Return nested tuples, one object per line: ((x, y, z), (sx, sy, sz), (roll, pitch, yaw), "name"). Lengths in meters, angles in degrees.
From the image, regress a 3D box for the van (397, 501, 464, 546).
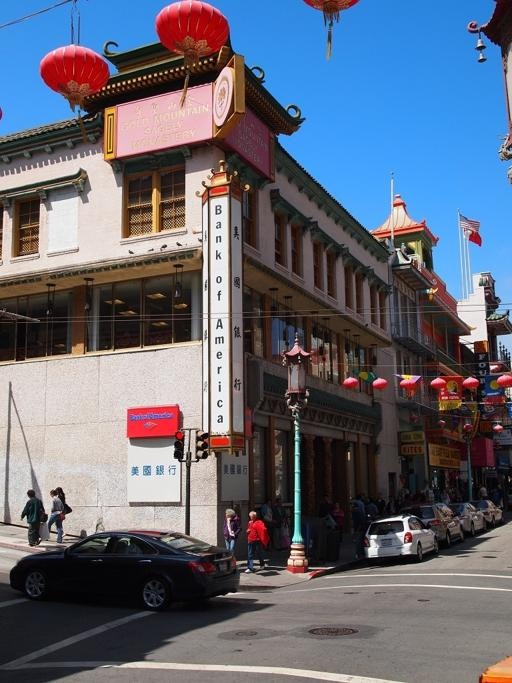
((6.195, 6.439, 27.595), (1.604, 1.431, 3.972), (-8, -14, 26), "van")

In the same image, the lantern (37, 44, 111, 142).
((-3.587, -5.091, 15.678), (1.015, 1.401, 1.115), (-7, -12, 25), "lantern")

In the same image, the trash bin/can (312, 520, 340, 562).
((2.052, 5.774, 22.698), (0.753, 1.212, 0.717), (3, -12, -20), "trash bin/can")

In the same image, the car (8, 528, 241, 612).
((-2.507, 4.243, 15.073), (4.346, 1.213, 1.853), (-4, -8, 24), "car")

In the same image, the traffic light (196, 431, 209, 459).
((-1.324, 2.578, 19.369), (0.299, 0.678, 0.453), (-1, -11, -4), "traffic light")

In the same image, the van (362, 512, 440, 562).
((4.400, 5.833, 23.527), (1.495, 1.139, 3.282), (-11, -11, 24), "van")
